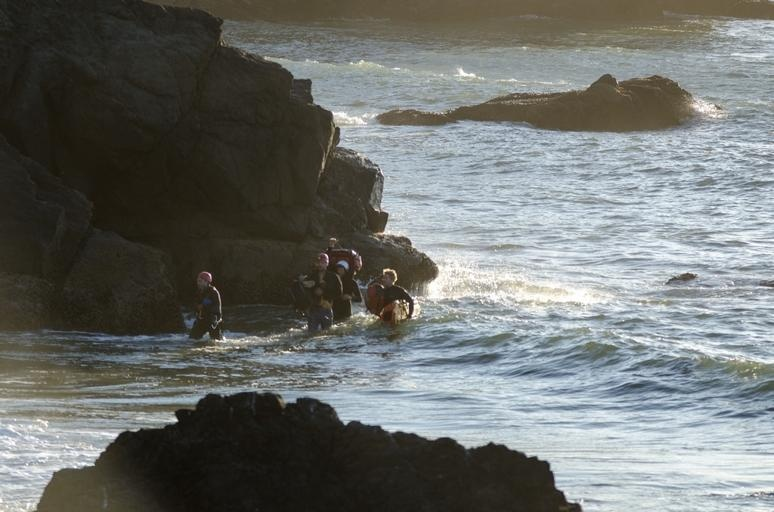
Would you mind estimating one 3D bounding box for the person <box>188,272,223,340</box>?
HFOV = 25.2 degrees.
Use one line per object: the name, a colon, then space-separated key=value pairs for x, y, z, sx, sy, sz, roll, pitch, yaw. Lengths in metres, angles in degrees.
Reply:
person: x=-6.245 y=1.747 z=59.604 sx=1.072 sy=2.355 sz=0.525 roll=1 pitch=16 yaw=-6
